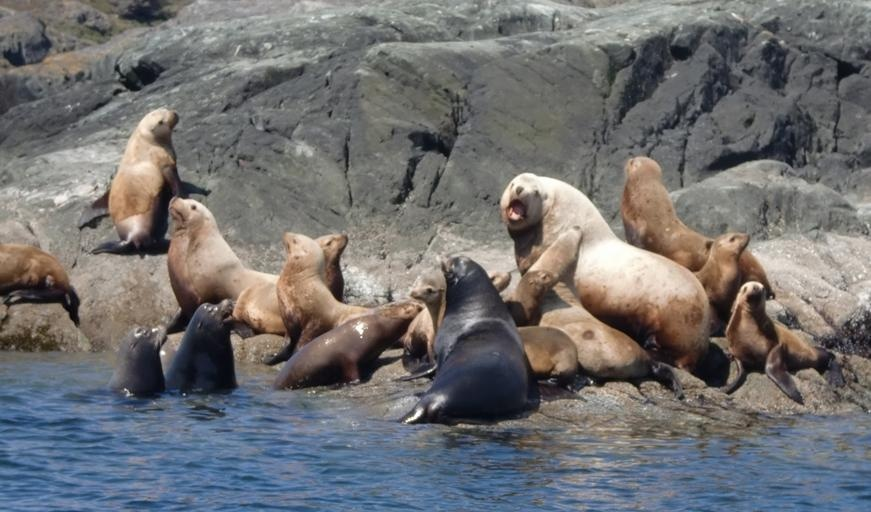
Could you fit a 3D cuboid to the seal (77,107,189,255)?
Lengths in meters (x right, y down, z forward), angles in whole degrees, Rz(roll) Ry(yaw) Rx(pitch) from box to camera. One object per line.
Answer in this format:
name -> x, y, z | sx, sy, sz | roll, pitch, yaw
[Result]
seal -> -6.362, -1.518, 31.358 | 1.446, 3.083, 2.091 | 29, -29, -28
